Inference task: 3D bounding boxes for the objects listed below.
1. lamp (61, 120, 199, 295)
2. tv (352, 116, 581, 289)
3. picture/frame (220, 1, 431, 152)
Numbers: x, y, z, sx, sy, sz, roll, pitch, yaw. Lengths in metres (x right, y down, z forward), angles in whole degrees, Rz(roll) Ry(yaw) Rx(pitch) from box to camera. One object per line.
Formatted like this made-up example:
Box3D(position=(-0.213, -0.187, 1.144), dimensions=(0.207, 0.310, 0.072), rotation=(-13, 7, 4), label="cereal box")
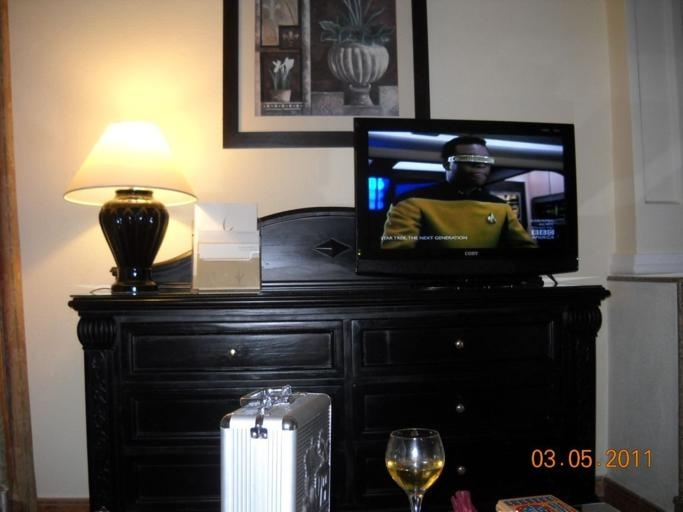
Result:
Box3D(position=(-1.063, -0.194, 3.846), dimensions=(0.719, 1.050, 0.743), rotation=(-1, -2, -31), label="lamp")
Box3D(position=(0.586, -0.256, 3.574), dimensions=(0.767, 0.596, 0.087), rotation=(0, 1, -8), label="tv")
Box3D(position=(-0.132, -0.914, 3.828), dimensions=(0.765, 0.937, 0.058), rotation=(0, -2, -4), label="picture/frame")
